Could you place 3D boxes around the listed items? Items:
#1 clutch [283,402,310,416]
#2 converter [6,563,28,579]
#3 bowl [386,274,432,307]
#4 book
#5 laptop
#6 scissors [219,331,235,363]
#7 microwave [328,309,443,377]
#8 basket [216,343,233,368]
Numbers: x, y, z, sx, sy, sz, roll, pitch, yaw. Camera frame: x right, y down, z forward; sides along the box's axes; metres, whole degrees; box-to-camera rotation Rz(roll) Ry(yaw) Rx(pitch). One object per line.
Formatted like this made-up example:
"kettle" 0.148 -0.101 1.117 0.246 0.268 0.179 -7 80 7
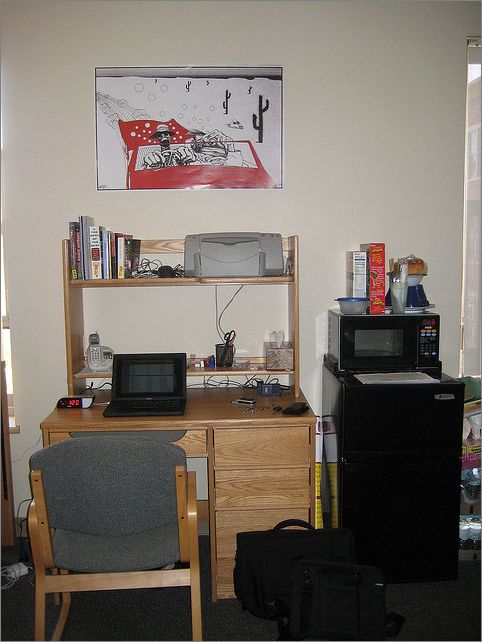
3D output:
"clutch" 0.231 0.373 2.421 0.069 0.020 0.053 0 22 25
"converter" -1.002 1.118 2.551 0.089 0.022 0.107 -5 8 -34
"bowl" 0.781 -0.134 2.662 0.155 0.153 0.168 0 -1 0
"book" -0.598 -0.344 2.760 0.298 0.417 0.314 3 8 9
"laptop" -0.428 0.277 2.611 0.329 0.255 0.220 -1 0 -2
"scissors" -0.060 0.113 2.869 0.056 0.042 0.203 -10 45 33
"microwave" 0.636 0.100 2.481 0.414 0.256 0.286 0 1 -2
"basket" -0.065 0.170 2.845 0.103 0.106 0.102 1 8 2
